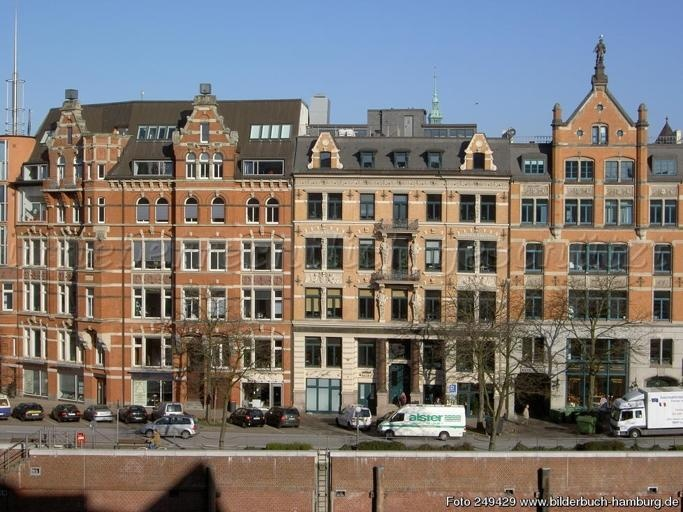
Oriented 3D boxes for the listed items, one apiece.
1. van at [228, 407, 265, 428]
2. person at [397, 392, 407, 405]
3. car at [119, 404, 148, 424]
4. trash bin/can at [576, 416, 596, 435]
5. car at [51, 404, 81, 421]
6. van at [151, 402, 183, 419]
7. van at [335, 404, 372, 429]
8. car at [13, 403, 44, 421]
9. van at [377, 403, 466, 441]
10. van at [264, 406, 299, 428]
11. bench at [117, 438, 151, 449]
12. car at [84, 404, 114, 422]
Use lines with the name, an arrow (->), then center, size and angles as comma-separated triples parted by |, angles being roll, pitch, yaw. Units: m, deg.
van -> -7.897, 13.704, 178.572 | 1.468, 1.038, 2.421 | 1, 3, -38
person -> 5.280, 12.304, 181.763 | 0.753, 1.253, 1.814 | 1, -5, 1
car -> -17.620, 13.541, 179.608 | 2.338, 1.583, 1.588 | 2, -5, -6
trash bin/can -> 20.342, 14.124, 175.794 | 1.527, 1.502, 1.521 | 1, 0, 15
car -> -23.313, 13.461, 179.713 | 1.957, 1.522, 2.289 | 3, -5, -19
van -> -14.745, 13.246, 179.365 | 1.424, 1.184, 2.428 | 0, 3, -30
van -> 0.978, 13.607, 177.644 | 1.831, 2.107, 3.215 | 6, -7, -42
car -> -26.591, 13.328, 180.176 | 1.755, 1.529, 2.647 | 6, -7, -44
van -> 6.581, 13.695, 174.629 | 7.107, 2.921, 2.694 | 1, -3, 3
van -> -5.064, 13.632, 178.552 | 1.547, 1.186, 2.683 | 0, 6, -33
bench -> -16.712, 15.121, 169.305 | 2.626, 0.775, 5.185 | 2, -5, -5
car -> -20.639, 13.451, 179.597 | 2.387, 1.509, 1.515 | -3, -6, 37
